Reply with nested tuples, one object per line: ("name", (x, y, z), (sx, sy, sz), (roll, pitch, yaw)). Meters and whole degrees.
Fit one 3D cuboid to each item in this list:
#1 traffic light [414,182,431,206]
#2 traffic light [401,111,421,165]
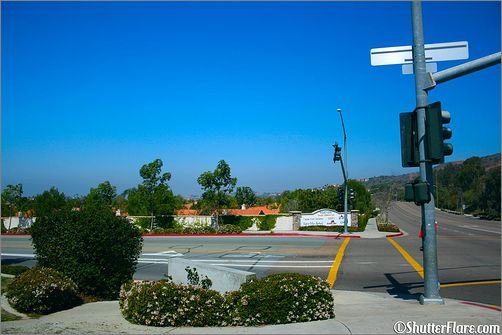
("traffic light", (5.976, 0.888, 14.475), (0.508, 0.754, 0.576), (-6, -6, 25))
("traffic light", (5.661, -1.036, 14.817), (0.635, 1.968, 0.207), (-6, -5, 22))
